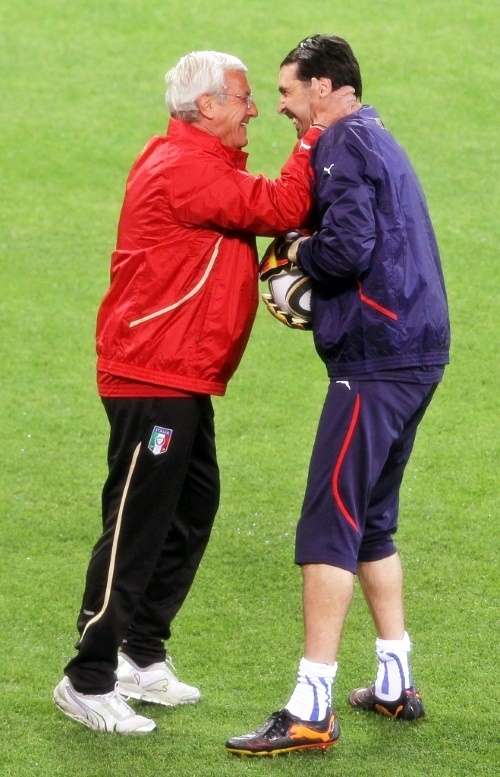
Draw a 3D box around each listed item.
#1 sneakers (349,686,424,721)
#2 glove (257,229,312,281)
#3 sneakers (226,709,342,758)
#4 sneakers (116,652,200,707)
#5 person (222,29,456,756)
[{"bbox_3d":[0.386,0.898,3.246,0.223,0.090,0.083,11,-5,38],"label":"sneakers"},{"bbox_3d":[0.075,-0.370,3.149,0.078,0.143,0.113,35,12,-14],"label":"glove"},{"bbox_3d":[0.094,0.926,3.036,0.313,0.128,0.115,1,-14,-6],"label":"sneakers"},{"bbox_3d":[-0.278,0.867,3.361,0.275,0.126,0.114,15,-10,0],"label":"sneakers"},{"bbox_3d":[0.292,0.010,3.093,0.578,1.885,0.730,5,15,-1],"label":"person"}]
